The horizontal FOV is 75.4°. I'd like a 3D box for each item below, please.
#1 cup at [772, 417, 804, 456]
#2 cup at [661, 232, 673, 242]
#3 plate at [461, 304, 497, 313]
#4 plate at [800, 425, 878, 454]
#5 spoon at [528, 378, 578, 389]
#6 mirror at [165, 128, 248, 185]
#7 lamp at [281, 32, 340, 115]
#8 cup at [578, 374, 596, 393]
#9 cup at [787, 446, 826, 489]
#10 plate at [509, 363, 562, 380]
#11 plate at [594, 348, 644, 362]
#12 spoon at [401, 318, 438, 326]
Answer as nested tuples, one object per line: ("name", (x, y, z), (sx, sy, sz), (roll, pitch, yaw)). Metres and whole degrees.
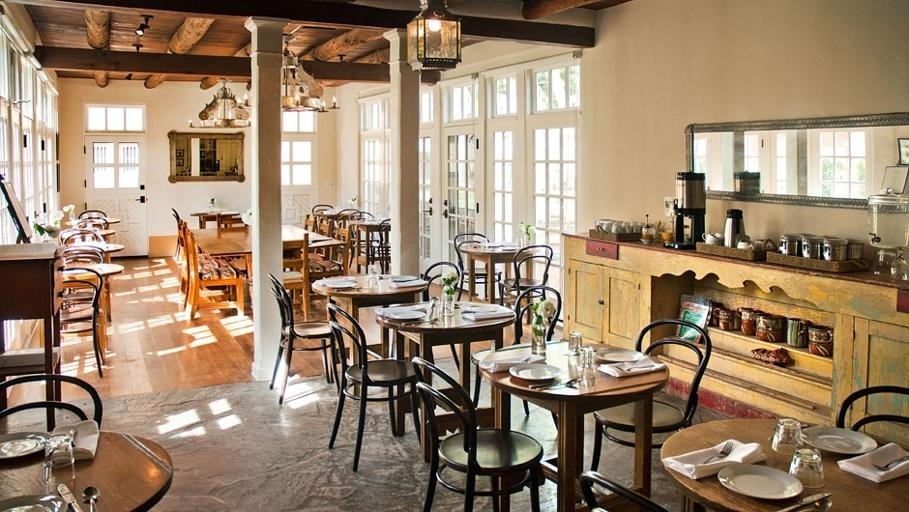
("cup", (1.998, 1.067, 3.532), (0.165, 0.216, 0.237), (2, 10, 29))
("cup", (2.325, -0.204, 6.459), (0.120, 0.090, 0.115), (-1, 1, 0))
("plate", (0.224, 0.478, 5.450), (0.322, 0.030, 0.266), (-3, 8, 1))
("plate", (2.339, 1.122, 3.589), (0.247, 0.031, 0.235), (3, 11, 24))
("spoon", (0.700, 0.899, 4.161), (0.366, 0.026, 0.111), (-3, 8, -3))
("mirror", (-5.917, -2.356, 13.765), (1.573, 1.033, 0.073), (-2, 9, -18))
("lamp", (-2.056, -2.335, 7.783), (0.521, 0.786, 0.357), (-5, 9, -13))
("cup", (0.941, 0.898, 4.145), (0.115, 0.108, 0.114), (1, 4, 0))
("cup", (1.972, 1.167, 3.331), (0.210, 0.179, 0.210), (0, 2, 0))
("plate", (0.584, 0.844, 4.284), (0.310, 0.068, 0.282), (5, 11, 43))
("plate", (1.270, 0.763, 4.524), (0.355, 0.049, 0.249), (-1, 8, 15))
("spoon", (-0.312, 0.578, 5.172), (0.325, 0.030, 0.058), (1, -7, 0))
